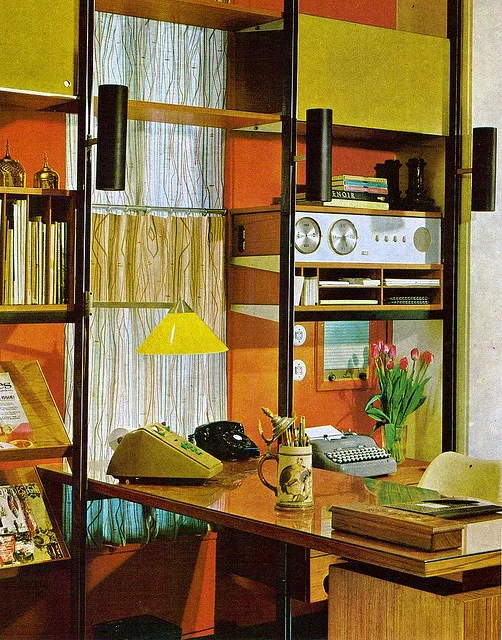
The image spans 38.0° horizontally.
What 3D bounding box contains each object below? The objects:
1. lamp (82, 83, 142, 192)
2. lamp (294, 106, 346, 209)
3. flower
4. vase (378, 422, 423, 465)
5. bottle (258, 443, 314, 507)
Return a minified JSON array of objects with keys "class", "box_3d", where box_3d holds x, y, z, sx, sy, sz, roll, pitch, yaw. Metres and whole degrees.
[{"class":"lamp","box_3d":[-0.420,-0.558,2.231,0.107,0.310,0.098,-1,3,-26]},{"class":"lamp","box_3d":[0.242,-0.589,2.595,0.091,0.332,0.120,1,3,2]},{"class":"flower","box_3d":[0.749,0.375,3.721,0.483,0.767,0.504,0,0,-9]},{"class":"vase","box_3d":[0.735,0.635,3.703,0.116,0.204,0.132,-2,0,23]},{"class":"bottle","box_3d":[0.081,0.416,1.989,0.181,0.204,0.124,0,0,3]}]
